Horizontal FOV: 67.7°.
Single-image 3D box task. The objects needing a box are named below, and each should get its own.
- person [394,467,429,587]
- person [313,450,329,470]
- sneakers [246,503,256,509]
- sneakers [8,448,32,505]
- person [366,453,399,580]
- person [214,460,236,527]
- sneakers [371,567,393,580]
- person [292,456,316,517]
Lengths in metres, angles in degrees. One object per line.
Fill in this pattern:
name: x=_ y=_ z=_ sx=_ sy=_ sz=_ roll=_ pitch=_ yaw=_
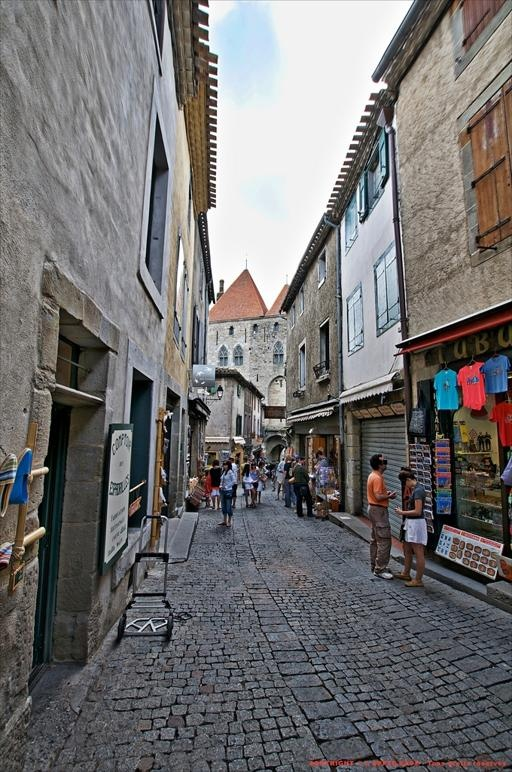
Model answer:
person: x=2.161 y=1.978 z=5.349 sx=0.393 sy=1.525 sz=1.046 roll=-3 pitch=-11 yaw=22
person: x=2.156 y=2.449 z=12.584 sx=0.415 sy=0.677 sz=2.309 roll=0 pitch=-12 yaw=10
sneakers: x=-0.177 y=4.132 z=12.936 sx=0.114 sy=0.184 sz=0.378 roll=10 pitch=-22 yaw=-38
sneakers: x=-0.916 y=0.327 z=1.502 sx=0.066 sy=0.266 sz=0.076 roll=3 pitch=-5 yaw=30
person: x=1.779 y=1.890 z=5.461 sx=0.330 sy=1.726 sz=0.910 roll=-2 pitch=-11 yaw=17
person: x=-0.744 y=2.601 z=9.133 sx=0.366 sy=1.560 sz=0.366 roll=-4 pitch=-5 yaw=40
sneakers: x=1.819 y=2.729 z=5.492 sx=0.102 sy=0.149 sz=0.300 roll=15 pitch=-24 yaw=-27
person: x=1.350 y=3.086 z=11.366 sx=0.635 sy=1.579 sz=1.414 roll=0 pitch=-11 yaw=7
